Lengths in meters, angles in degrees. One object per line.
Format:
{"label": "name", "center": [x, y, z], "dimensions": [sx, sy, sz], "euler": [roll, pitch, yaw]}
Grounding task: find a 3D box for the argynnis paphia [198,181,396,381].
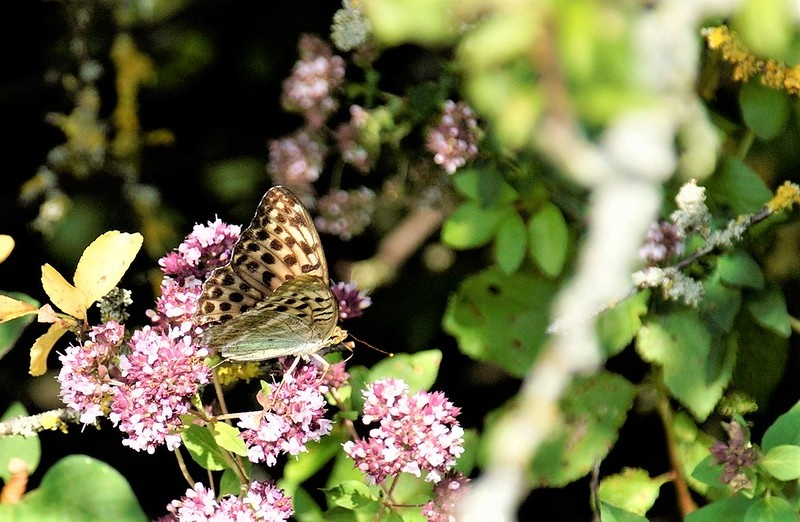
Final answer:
{"label": "argynnis paphia", "center": [-0.183, 0.030, 1.699], "dimensions": [0.303, 0.237, 0.314], "euler": [4, 80, -9]}
